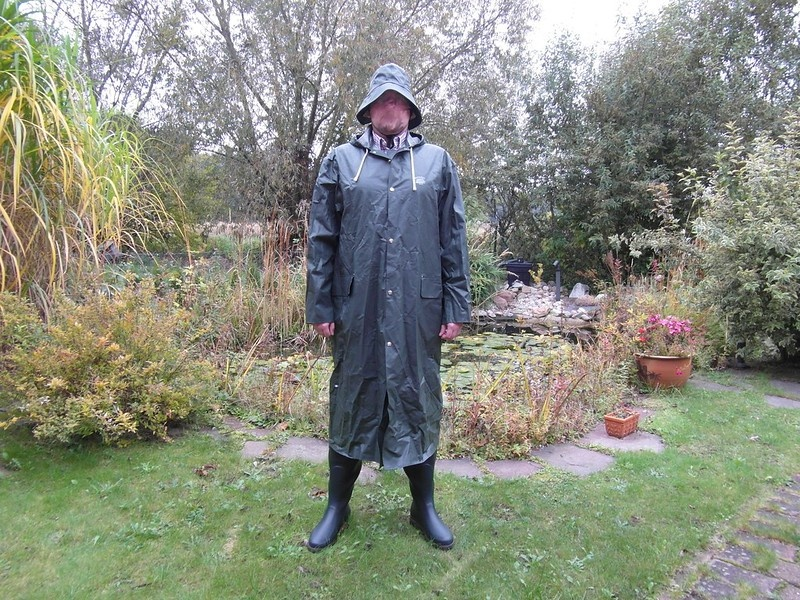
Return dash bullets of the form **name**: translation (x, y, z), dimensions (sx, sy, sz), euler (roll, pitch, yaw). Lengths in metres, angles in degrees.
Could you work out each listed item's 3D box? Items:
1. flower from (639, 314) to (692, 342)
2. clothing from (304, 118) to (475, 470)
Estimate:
- **flower**: translation (2.668, 0.293, 5.609), dimensions (0.341, 0.226, 0.341), euler (-13, 2, -37)
- **clothing**: translation (-0.067, -0.018, 3.248), dimensions (0.928, 1.849, 0.560), euler (2, 11, 7)
